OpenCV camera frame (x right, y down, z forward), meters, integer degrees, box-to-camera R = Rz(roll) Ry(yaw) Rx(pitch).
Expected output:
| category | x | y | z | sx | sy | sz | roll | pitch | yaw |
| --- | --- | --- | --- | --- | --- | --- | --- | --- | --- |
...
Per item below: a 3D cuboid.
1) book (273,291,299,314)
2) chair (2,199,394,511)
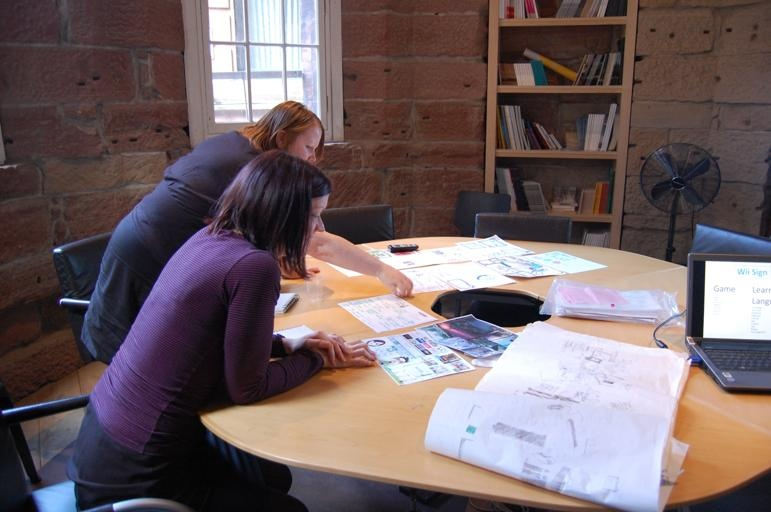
| category | x | y | z | sx | sy | sz | roll | pitch | yaw |
| --- | --- | --- | --- | --- | --- | --- | --- | --- | --- |
| book | -0.407 | 0.190 | 2.149 | 0.105 | 0.020 | 0.093 | 0 | 22 | 11 |
| chair | -0.809 | 0.357 | 2.572 | 1.398 | 1.479 | 1.486 | -14 | 21 | -42 |
